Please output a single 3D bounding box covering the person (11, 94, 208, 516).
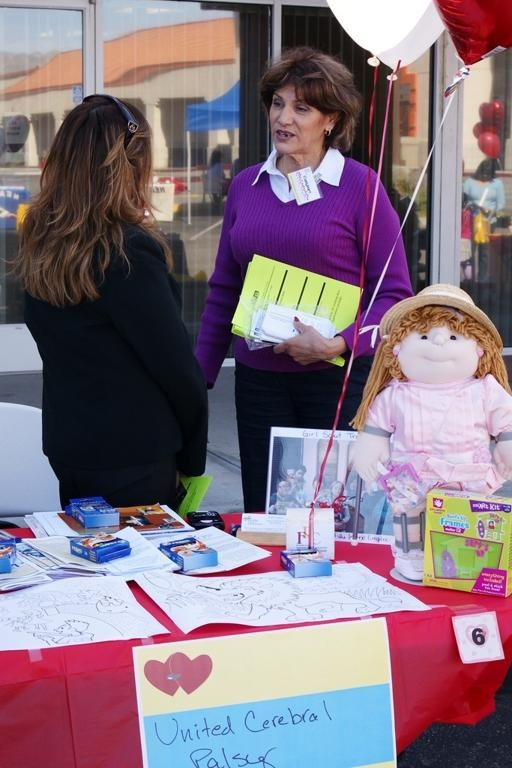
[{"bbox_3d":[-0.298,-0.146,1.597,0.375,0.931,0.242,-4,13,-16],"label":"person"}]

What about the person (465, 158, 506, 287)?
[{"bbox_3d":[1.520,-1.093,4.943,0.297,0.818,0.093,-6,14,-23],"label":"person"}]
